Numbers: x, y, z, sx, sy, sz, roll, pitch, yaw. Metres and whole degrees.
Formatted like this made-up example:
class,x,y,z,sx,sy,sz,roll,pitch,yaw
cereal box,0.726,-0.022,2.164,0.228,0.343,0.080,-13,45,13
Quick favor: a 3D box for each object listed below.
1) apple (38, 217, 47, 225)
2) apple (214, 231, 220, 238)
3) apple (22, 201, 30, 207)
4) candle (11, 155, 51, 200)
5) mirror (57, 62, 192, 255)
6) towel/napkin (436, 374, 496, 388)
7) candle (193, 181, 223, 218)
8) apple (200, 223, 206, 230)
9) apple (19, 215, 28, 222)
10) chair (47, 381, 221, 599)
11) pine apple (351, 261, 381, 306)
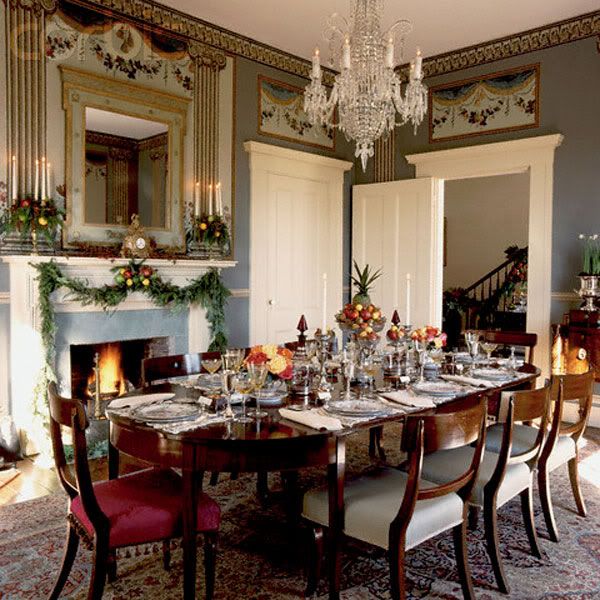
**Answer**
class,x,y,z,sx,sy,sz,roll,pitch,yaw
apple,-1.801,-0.548,3.756,0.039,0.052,0.018,1,-21,-34
apple,-0.749,-0.594,4.872,0.031,0.038,0.035,2,0,-10
apple,-1.890,-0.659,3.691,0.032,0.022,0.036,1,-1,20
candle,-1.905,-0.868,3.850,0.257,0.338,0.274,-1,-2,32
mirror,-1.454,-1.143,4.313,0.126,2.059,1.419,-3,-4,38
towel/napkin,0.875,0.417,2.786,0.099,0.041,0.304,-8,10,-40
candle,-0.847,-0.910,4.863,0.287,0.465,0.042,2,-4,-42
apple,-0.861,-0.655,4.774,0.037,0.077,0.068,-6,5,-29
apple,-1.915,-0.562,3.696,0.032,0.046,0.016,15,-42,-31
chair,-0.701,0.738,2.381,0.714,1.289,0.662,-2,3,-32
pine apple,0.437,-0.060,3.556,0.177,0.259,0.192,3,16,-20
